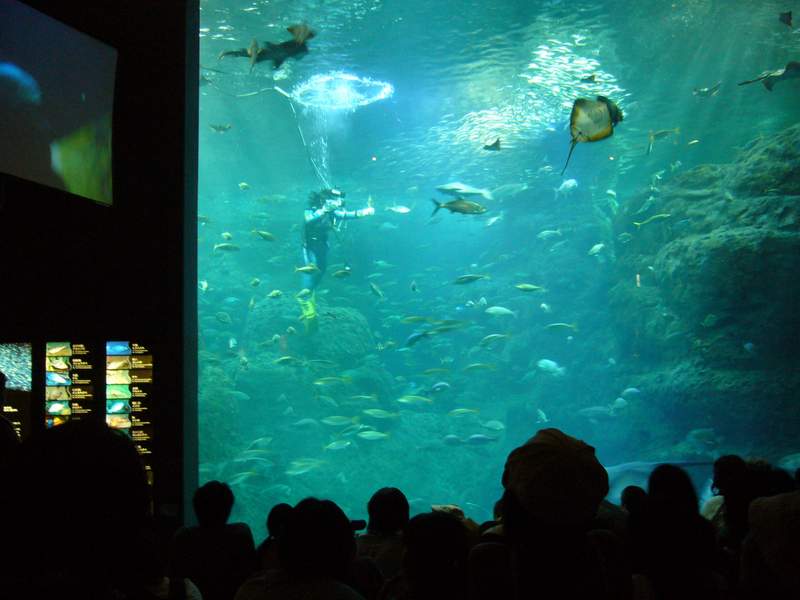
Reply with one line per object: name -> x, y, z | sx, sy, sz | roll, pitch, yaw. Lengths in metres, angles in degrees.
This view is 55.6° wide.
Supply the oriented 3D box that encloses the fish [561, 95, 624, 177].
fish -> 3.628, -3.275, 13.894 | 0.442, 0.777, 1.839 | 21, 47, 41
